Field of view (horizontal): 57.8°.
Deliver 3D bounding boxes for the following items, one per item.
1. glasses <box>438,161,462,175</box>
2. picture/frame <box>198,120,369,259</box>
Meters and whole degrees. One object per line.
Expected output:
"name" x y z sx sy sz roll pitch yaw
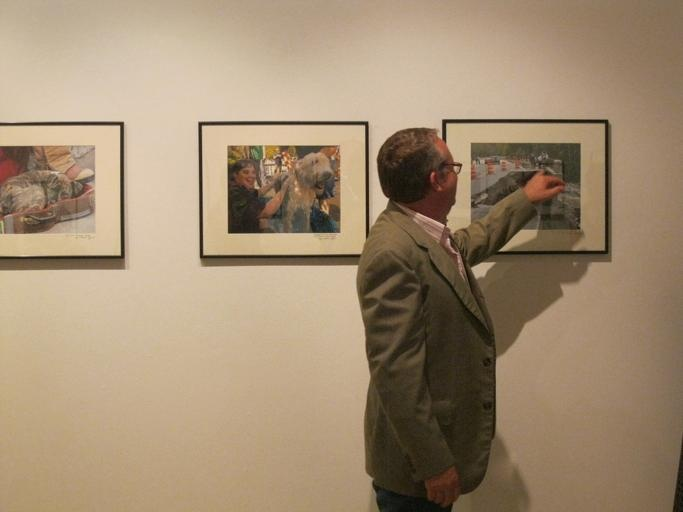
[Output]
"glasses" 0.436 -0.359 2.497 0.095 0.033 0.104 1 -7 0
"picture/frame" -0.275 -0.336 2.861 0.569 0.486 0.023 0 3 2
